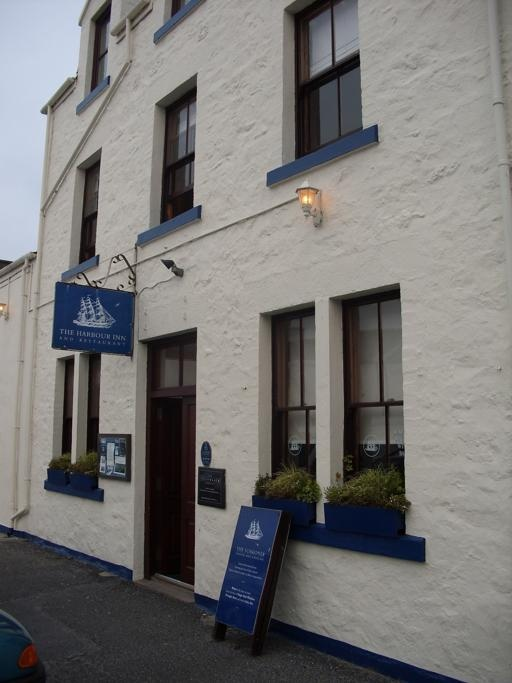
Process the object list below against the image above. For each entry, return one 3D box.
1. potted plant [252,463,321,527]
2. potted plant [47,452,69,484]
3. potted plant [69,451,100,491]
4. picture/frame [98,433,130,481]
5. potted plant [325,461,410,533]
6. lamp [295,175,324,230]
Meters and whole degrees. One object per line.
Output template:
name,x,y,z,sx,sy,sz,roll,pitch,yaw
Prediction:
potted plant,0.256,1.334,4.920,0.361,0.307,0.271,-3,11,34
potted plant,-3.218,1.995,9.004,0.358,0.588,0.502,7,-17,-18
potted plant,-2.484,1.951,8.221,0.439,0.677,0.588,10,-17,-32
picture/frame,-1.937,1.560,7.532,0.162,0.620,0.980,3,-10,-33
potted plant,0.854,1.264,4.114,0.441,0.448,0.516,15,-24,-37
lamp,0.479,-1.202,4.863,0.170,0.344,0.387,-4,-9,21
